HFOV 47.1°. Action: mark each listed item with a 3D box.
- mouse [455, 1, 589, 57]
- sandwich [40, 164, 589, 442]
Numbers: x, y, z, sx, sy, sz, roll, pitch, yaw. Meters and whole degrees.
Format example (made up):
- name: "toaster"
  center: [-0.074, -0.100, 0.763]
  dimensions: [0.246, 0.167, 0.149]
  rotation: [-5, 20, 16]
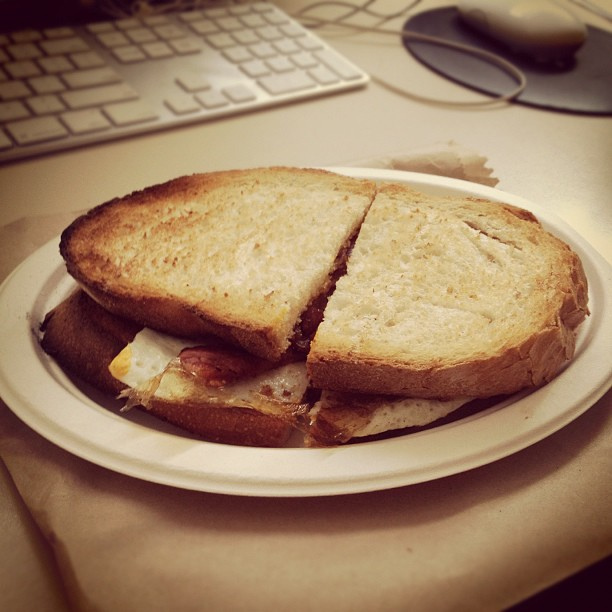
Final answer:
- name: "mouse"
  center: [0.466, -0.616, 1.538]
  dimensions: [0.300, 0.109, 0.160]
  rotation: [9, 32, 9]
- name: "sandwich"
  center: [-0.001, -0.013, 1.111]
  dimensions: [0.871, 0.147, 0.402]
  rotation: [4, 46, 5]
